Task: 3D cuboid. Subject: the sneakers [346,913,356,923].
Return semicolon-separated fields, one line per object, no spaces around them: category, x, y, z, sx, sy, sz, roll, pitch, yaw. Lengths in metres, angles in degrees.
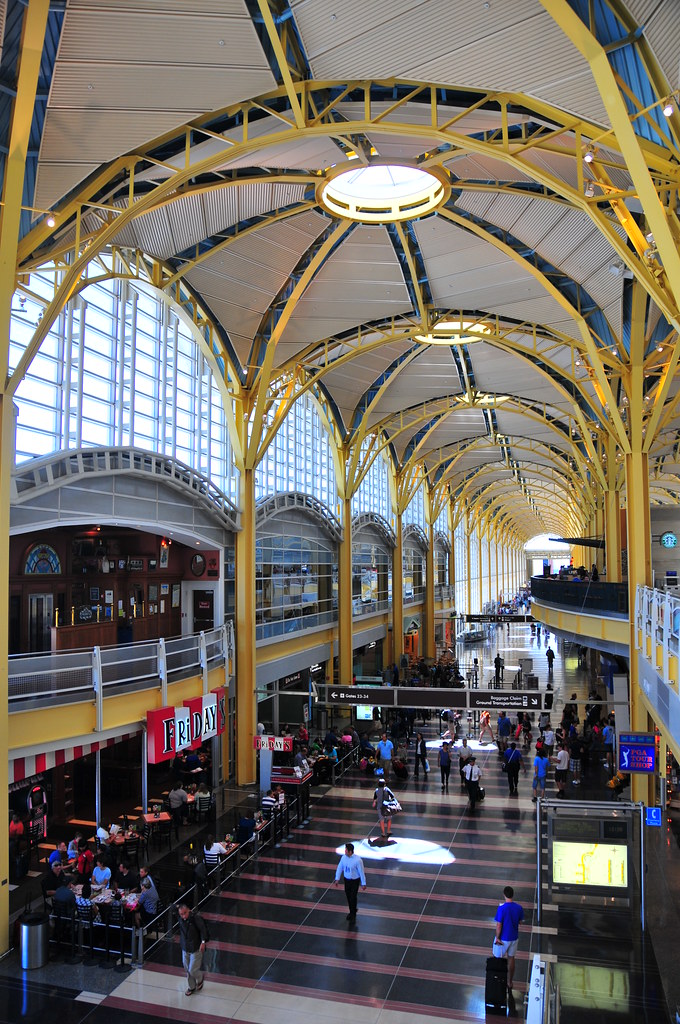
sneakers;0.201;7.387;15.261;0.161;0.137;0.314;-2;-11;2

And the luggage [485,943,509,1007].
luggage;2.233;6.666;12.021;0.401;0.849;0.442;2;-25;3

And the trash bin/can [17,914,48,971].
trash bin/can;-4.870;6.844;13.334;0.386;0.752;0.563;1;-11;-16

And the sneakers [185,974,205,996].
sneakers;-2.146;6.950;12.387;0.125;0.174;0.396;3;8;5
